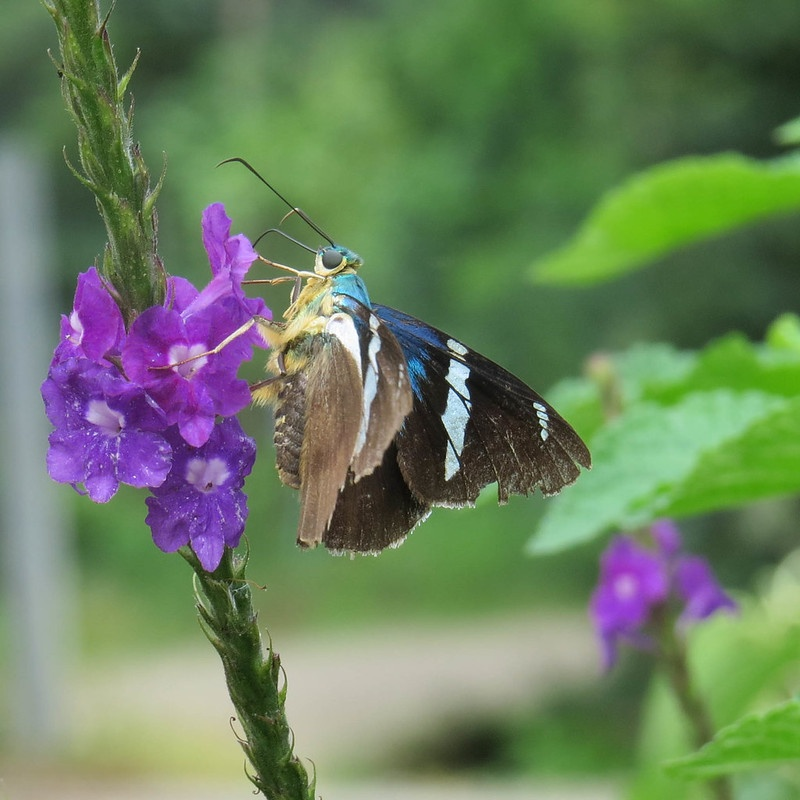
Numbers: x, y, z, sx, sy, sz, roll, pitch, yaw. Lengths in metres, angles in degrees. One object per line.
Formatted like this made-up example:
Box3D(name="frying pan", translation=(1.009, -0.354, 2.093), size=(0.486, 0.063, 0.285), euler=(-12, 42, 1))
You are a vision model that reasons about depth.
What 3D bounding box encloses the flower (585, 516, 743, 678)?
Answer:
Box3D(name="flower", translation=(0.548, 0.412, 2.821), size=(0.301, 0.318, 0.132), euler=(-4, 0, 4))
